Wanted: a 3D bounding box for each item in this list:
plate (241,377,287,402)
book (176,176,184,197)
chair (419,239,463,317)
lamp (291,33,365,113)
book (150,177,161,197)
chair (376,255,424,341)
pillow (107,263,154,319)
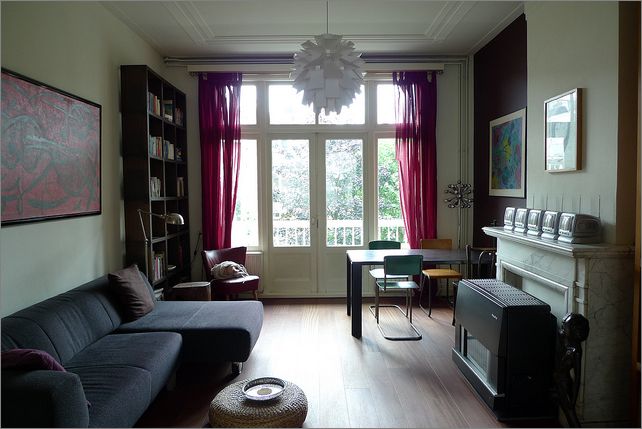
[{"bbox_3d":[-0.547,1.646,4.059,0.406,0.086,0.293,-1,10,-5],"label":"plate"},{"bbox_3d":[-2.261,-0.428,6.861,0.110,0.322,0.321,-1,3,-3],"label":"book"},{"bbox_3d":[1.828,0.975,6.659,0.560,1.121,0.666,0,2,-9],"label":"chair"},{"bbox_3d":[0.037,-1.413,4.797,0.760,0.833,0.792,0,3,-6],"label":"lamp"},{"bbox_3d":[-2.320,-0.384,5.988,0.087,0.229,0.274,3,5,-4],"label":"book"},{"bbox_3d":[1.059,0.997,6.174,0.664,1.133,1.504,1,10,6],"label":"chair"},{"bbox_3d":[-2.227,0.910,5.075,0.314,0.579,0.636,-5,5,0],"label":"pillow"}]
